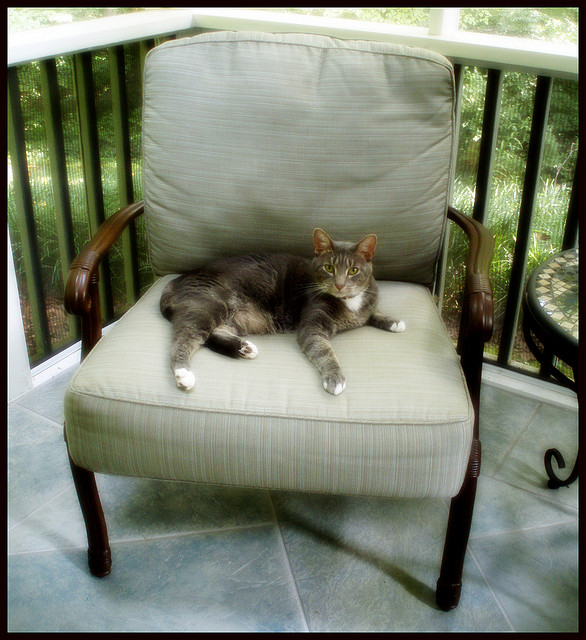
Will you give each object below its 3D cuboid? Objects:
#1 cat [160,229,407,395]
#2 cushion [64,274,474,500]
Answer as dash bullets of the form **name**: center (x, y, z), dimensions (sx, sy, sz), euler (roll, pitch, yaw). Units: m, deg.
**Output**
- **cat**: center (-0.048, -0.041, 1.314), dimensions (0.456, 0.228, 0.465), euler (3, 30, 1)
- **cushion**: center (-0.010, -0.019, 1.191), dimensions (0.700, 0.444, 0.585), euler (2, 26, 4)
